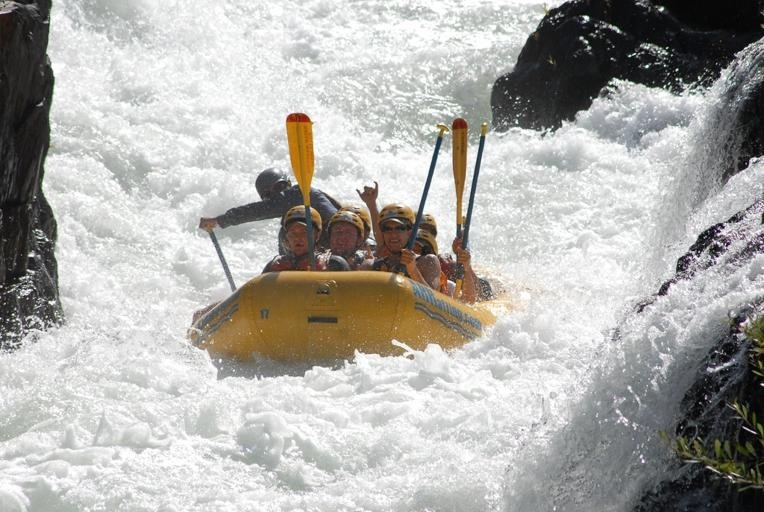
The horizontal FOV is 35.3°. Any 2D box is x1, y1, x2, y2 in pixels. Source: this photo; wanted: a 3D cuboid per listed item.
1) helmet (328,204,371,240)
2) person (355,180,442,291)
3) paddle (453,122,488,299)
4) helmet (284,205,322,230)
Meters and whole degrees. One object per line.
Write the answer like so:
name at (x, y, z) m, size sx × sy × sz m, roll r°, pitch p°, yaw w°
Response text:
helmet at (-0.457, -0.516, 16.717) m, size 0.385 × 0.578 × 0.484 m, roll 5°, pitch -2°, yaw 9°
person at (0.219, -0.260, 17.180) m, size 1.442 × 1.045 × 2.241 m, roll -8°, pitch 27°, yaw 9°
paddle at (1.106, -0.732, 16.798) m, size 0.659 × 2.218 × 0.158 m, roll 5°, pitch 2°, yaw 2°
helmet at (-1.100, -0.516, 16.540) m, size 0.309 × 0.455 × 0.339 m, roll 8°, pitch 58°, yaw 23°
